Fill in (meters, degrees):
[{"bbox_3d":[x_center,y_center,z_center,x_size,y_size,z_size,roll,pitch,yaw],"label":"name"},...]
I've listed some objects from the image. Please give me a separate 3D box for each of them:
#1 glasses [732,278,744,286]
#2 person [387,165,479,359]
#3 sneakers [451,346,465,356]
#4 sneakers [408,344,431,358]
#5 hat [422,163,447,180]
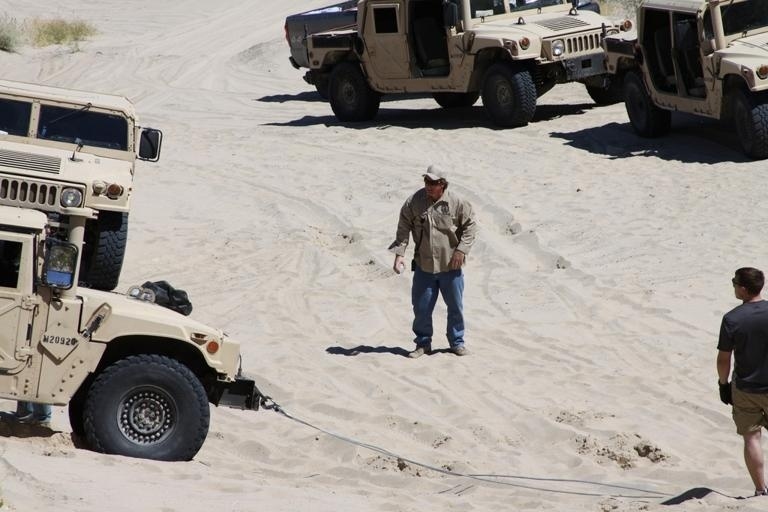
[{"bbox_3d":[3.776,0.282,13.150,0.086,0.024,0.083,18,12,-11],"label":"glasses"},{"bbox_3d":[0.666,0.109,15.653,1.053,2.484,0.384,-4,15,1],"label":"person"},{"bbox_3d":[0.982,1.239,16.009,0.095,0.077,0.174,1,-28,-26],"label":"sneakers"},{"bbox_3d":[0.494,1.231,16.084,0.352,0.139,0.121,-6,9,-26],"label":"sneakers"},{"bbox_3d":[0.675,-1.010,15.480,0.261,0.168,0.373,11,12,24],"label":"hat"}]
